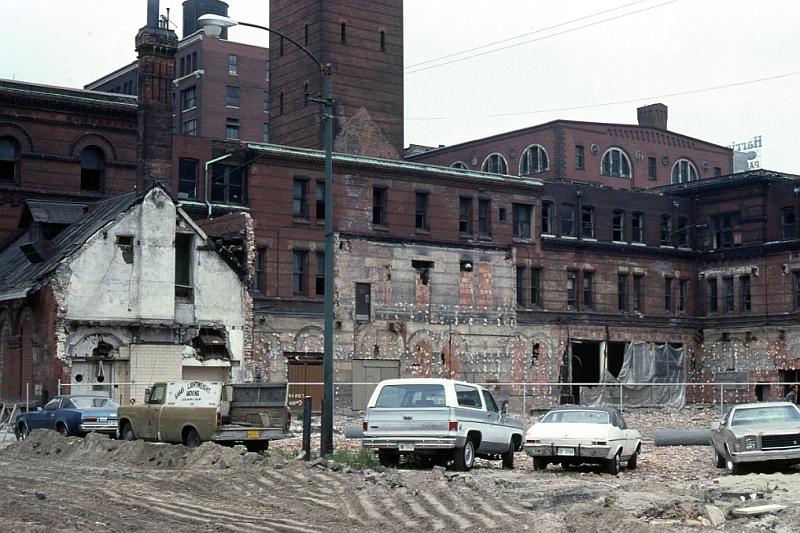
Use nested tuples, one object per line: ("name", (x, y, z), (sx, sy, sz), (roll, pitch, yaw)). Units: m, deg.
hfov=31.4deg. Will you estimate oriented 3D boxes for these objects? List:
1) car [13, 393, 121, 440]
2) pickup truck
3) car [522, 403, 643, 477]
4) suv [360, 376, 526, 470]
("car", (-15.050, 6.911, 65.652), (5.138, 2.065, 2.727), (-2, -4, 36))
("pickup truck", (-8.669, 6.390, 62.009), (5.400, 2.248, 3.267), (0, -3, 36))
("car", (7.539, 6.982, 58.290), (2.862, 2.313, 7.004), (-2, -4, 23))
("suv", (2.268, 6.345, 58.430), (3.289, 2.526, 5.807), (-4, -6, 33))
